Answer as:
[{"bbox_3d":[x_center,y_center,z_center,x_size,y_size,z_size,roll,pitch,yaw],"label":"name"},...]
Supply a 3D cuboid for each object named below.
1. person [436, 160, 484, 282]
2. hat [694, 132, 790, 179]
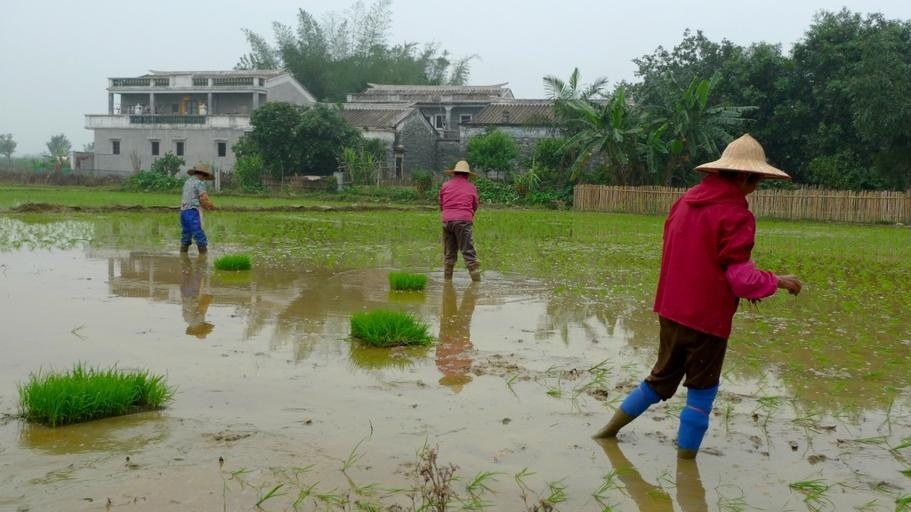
[{"bbox_3d":[0.076,-0.768,17.630,0.867,2.419,1.533,1,5,-1],"label":"person"},{"bbox_3d":[3.874,-1.286,11.374,0.829,0.352,0.824,3,2,11],"label":"hat"}]
